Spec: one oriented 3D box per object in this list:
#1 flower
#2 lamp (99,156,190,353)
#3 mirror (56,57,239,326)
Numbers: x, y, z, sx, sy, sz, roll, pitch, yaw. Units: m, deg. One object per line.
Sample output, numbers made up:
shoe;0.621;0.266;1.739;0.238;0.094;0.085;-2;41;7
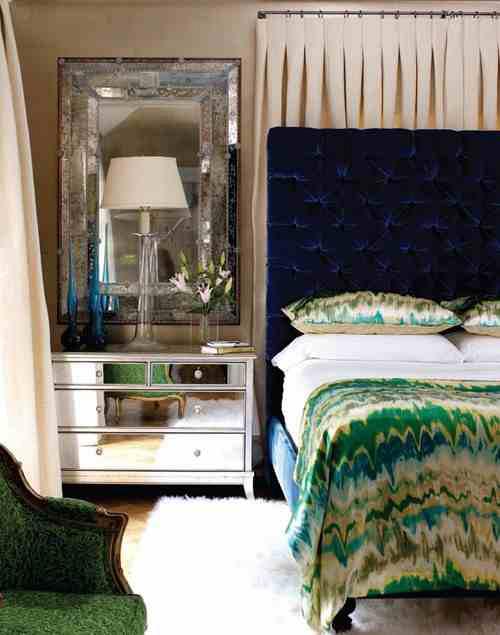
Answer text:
flower;-0.266;-0.139;3.124;0.218;0.266;0.273;-6;6;-32
lamp;-0.494;-0.310;3.085;0.415;0.907;0.449;-1;3;-7
mirror;-0.520;-0.686;3.221;1.180;1.919;0.069;0;0;-4
